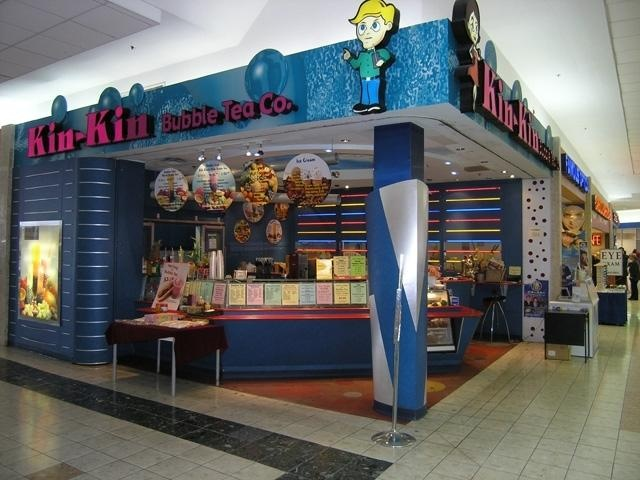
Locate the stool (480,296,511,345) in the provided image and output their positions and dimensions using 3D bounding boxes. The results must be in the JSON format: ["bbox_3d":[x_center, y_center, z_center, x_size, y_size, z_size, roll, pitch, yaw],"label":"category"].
[{"bbox_3d":[3.994,1.702,10.831,0.539,0.832,0.549,-3,5,-23],"label":"stool"}]

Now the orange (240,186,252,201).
[{"bbox_3d":[-1.222,-0.754,7.998,0.138,0.205,0.245,-20,-6,-1],"label":"orange"}]

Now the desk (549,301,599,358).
[{"bbox_3d":[4.868,1.624,9.306,0.730,0.680,0.560,1,11,38],"label":"desk"}]

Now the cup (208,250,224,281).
[{"bbox_3d":[-1.815,0.437,8.182,0.227,0.475,0.379,0,2,-19],"label":"cup"}]

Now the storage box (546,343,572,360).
[{"bbox_3d":[4.544,2.153,9.092,0.333,0.211,0.340,-1,-2,27],"label":"storage box"}]

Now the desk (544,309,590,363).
[{"bbox_3d":[4.739,1.810,9.123,0.750,0.948,0.525,1,2,29],"label":"desk"}]

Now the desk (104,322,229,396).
[{"bbox_3d":[-2.149,2.047,7.406,1.699,0.866,1.086,-1,-3,36],"label":"desk"}]
